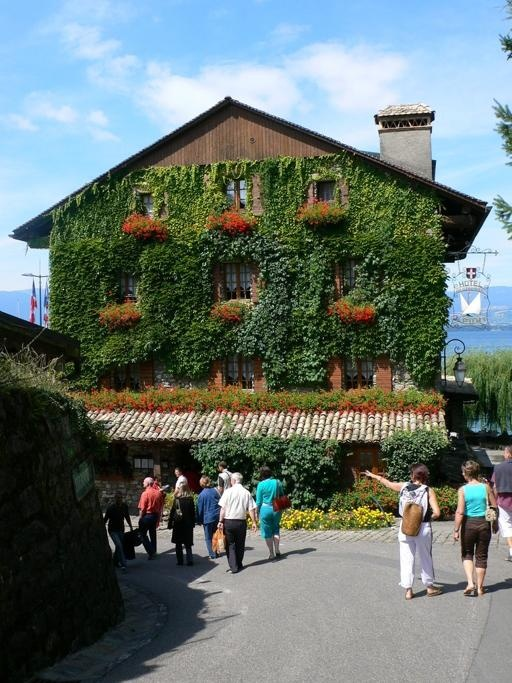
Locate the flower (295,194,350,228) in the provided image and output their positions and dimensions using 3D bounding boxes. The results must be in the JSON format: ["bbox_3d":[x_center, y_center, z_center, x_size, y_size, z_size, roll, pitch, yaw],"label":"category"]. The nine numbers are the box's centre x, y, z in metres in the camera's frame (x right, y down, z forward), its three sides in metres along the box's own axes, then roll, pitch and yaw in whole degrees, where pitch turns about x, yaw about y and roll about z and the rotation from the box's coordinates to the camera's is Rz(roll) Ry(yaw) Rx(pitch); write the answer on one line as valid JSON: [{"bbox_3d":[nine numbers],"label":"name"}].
[{"bbox_3d":[1.722,-3.653,24.673,0.846,0.597,0.971,-6,15,-24],"label":"flower"}]

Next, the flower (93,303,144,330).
[{"bbox_3d":[-3.971,-0.810,26.105,0.908,0.583,0.921,-5,16,-3],"label":"flower"}]

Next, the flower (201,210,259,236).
[{"bbox_3d":[-0.663,-3.426,25.545,0.931,0.576,0.878,3,6,37],"label":"flower"}]

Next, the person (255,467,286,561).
[{"bbox_3d":[0.220,2.768,14.624,0.428,1.532,1.230,-3,-4,1],"label":"person"}]

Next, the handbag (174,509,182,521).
[{"bbox_3d":[-1.319,2.897,15.042,0.145,0.145,0.259,0,-12,-7],"label":"handbag"}]

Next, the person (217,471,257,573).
[{"bbox_3d":[-0.300,2.759,13.730,0.513,1.453,0.590,-3,-4,2],"label":"person"}]

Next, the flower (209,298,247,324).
[{"bbox_3d":[-0.723,-0.887,25.464,0.744,0.432,0.746,1,29,6],"label":"flower"}]

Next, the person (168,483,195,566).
[{"bbox_3d":[-1.285,3.082,15.370,0.430,1.370,1.132,-3,-4,-6],"label":"person"}]

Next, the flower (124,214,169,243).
[{"bbox_3d":[-3.222,-3.425,26.372,0.999,0.631,0.847,11,21,20],"label":"flower"}]

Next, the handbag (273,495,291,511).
[{"bbox_3d":[0.414,2.554,14.170,0.179,0.231,0.391,-5,-4,27],"label":"handbag"}]

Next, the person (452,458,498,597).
[{"bbox_3d":[2.636,2.233,10.770,0.522,1.572,0.418,0,-5,-37],"label":"person"}]

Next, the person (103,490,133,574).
[{"bbox_3d":[-2.339,3.200,15.101,0.408,1.329,1.464,-3,-4,-10],"label":"person"}]

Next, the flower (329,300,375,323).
[{"bbox_3d":[2.626,-0.851,24.039,0.706,0.410,0.775,13,14,33],"label":"flower"}]

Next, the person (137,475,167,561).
[{"bbox_3d":[-1.932,3.221,16.404,0.438,1.479,1.198,-3,-4,-7],"label":"person"}]

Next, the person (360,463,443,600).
[{"bbox_3d":[1.840,2.248,10.537,0.640,1.614,1.246,-4,-4,8],"label":"person"}]

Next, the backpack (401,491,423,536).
[{"bbox_3d":[1.805,2.049,10.389,0.273,0.403,0.133,-5,-4,19],"label":"backpack"}]
